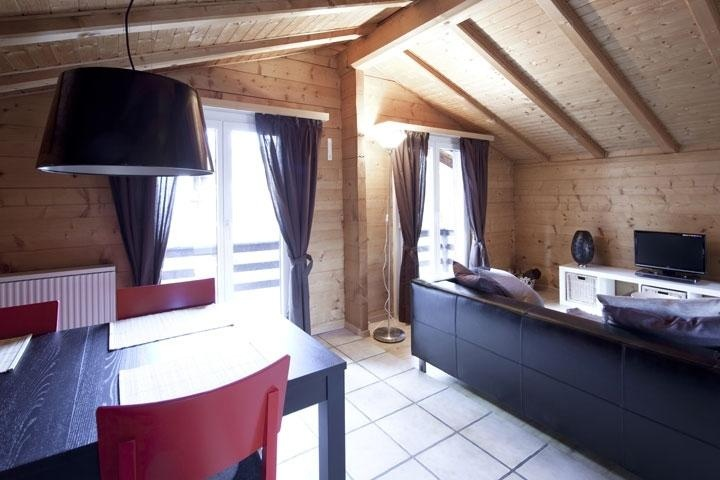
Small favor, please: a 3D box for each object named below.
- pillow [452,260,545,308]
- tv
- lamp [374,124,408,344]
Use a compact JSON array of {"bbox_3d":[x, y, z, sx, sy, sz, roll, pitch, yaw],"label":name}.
[{"bbox_3d":[1.171,0.365,4.094,0.510,0.148,0.509,22,2,-9],"label":"pillow"},{"bbox_3d":[3.691,0.202,5.444,0.259,0.563,0.707,1,-1,-38],"label":"tv"},{"bbox_3d":[0.357,-0.134,5.446,0.380,2.441,0.724,0,5,3],"label":"lamp"}]
